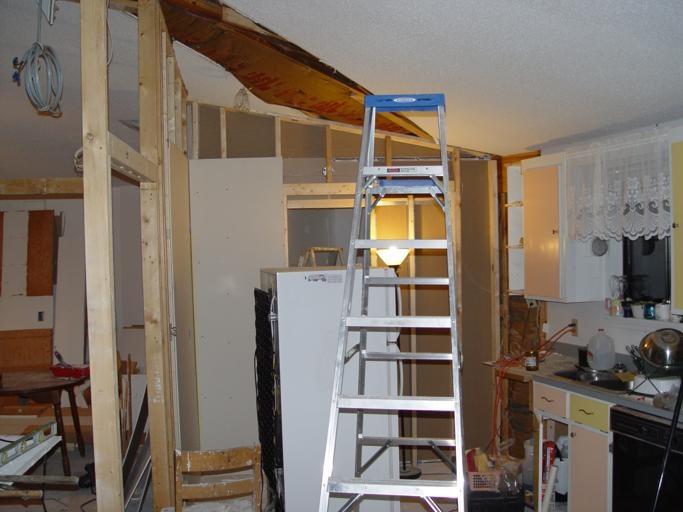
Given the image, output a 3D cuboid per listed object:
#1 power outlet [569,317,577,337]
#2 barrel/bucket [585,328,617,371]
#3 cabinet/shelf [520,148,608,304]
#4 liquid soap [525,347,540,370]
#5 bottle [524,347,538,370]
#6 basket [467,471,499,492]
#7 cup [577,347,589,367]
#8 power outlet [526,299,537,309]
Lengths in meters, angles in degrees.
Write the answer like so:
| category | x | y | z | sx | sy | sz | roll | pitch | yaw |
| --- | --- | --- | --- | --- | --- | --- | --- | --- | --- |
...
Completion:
| category | x | y | z | sx | sy | sz | roll | pitch | yaw |
| --- | --- | --- | --- | --- | --- | --- | --- | --- | --- |
| power outlet | 2.179 | 0.669 | 5.705 | 0.024 | 0.159 | 0.093 | 2 | -3 | -26 |
| barrel/bucket | 2.219 | 0.806 | 5.201 | 0.178 | 0.340 | 0.207 | -2 | 1 | -2 |
| cabinet/shelf | 2.012 | -0.181 | 5.670 | 0.448 | 1.158 | 0.592 | -1 | 0 | -29 |
| liquid soap | 1.738 | 0.954 | 5.655 | 0.148 | 0.238 | 0.152 | -1 | -5 | -26 |
| bottle | 1.754 | 0.947 | 5.593 | 0.141 | 0.235 | 0.151 | -1 | 0 | 0 |
| basket | 1.221 | 1.928 | 5.193 | 0.206 | 0.151 | 0.115 | 0 | -3 | 0 |
| cup | 2.069 | 0.878 | 5.279 | 0.123 | 0.151 | 0.126 | -2 | 3 | 0 |
| power outlet | 1.910 | 0.482 | 6.117 | 0.073 | 0.101 | 0.100 | -4 | -23 | 40 |
